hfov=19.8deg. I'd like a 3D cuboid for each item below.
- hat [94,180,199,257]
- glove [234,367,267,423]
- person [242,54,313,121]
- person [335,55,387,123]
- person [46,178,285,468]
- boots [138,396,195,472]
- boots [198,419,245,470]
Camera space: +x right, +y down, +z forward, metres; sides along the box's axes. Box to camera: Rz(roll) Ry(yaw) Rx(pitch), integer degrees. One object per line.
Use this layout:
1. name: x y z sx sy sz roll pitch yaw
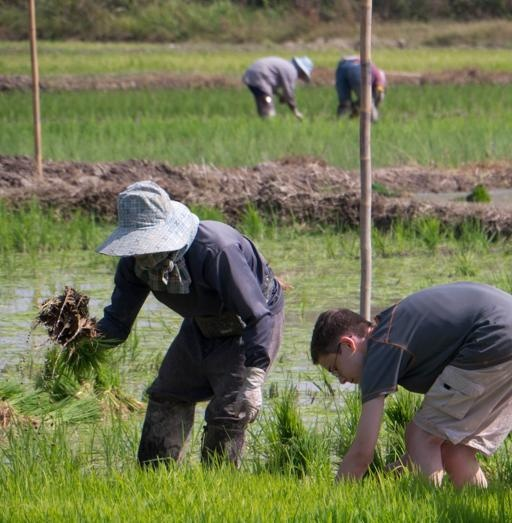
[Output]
1. hat: -0.740 -0.253 9.489 0.612 0.489 0.786 -7 -2 18
2. glove: -0.040 0.847 9.312 0.193 0.365 0.082 0 6 6
3. person: 0.259 -1.813 16.142 0.669 0.918 0.607 5 -17 -13
4. person: 1.109 -1.849 15.764 0.541 0.690 0.941 0 6 3
5. person: -0.572 0.590 9.723 1.232 2.547 1.172 -3 23 -6
6. boots: -0.610 1.139 9.855 0.302 0.528 0.259 15 23 27
7. boots: -0.211 1.151 9.625 0.248 0.447 0.286 4 34 4
